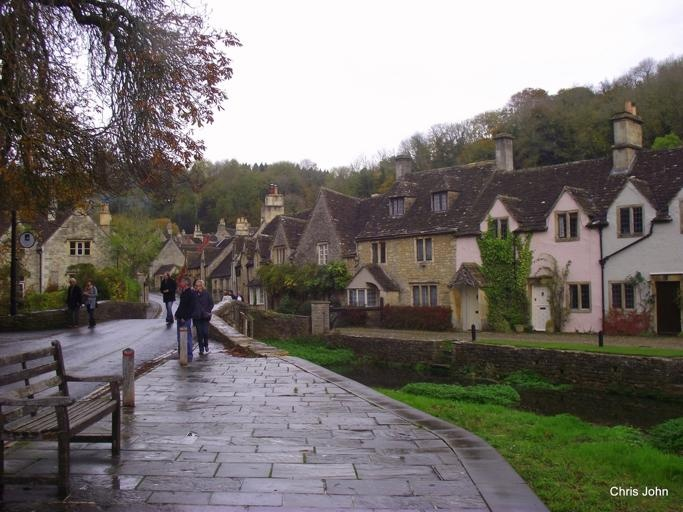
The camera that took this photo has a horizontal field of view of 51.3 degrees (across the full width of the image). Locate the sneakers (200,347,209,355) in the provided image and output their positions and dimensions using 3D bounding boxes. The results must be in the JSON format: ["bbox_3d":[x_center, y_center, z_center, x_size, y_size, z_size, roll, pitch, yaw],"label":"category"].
[{"bbox_3d":[-3.945,2.741,20.561,0.263,0.141,0.364,6,10,-15],"label":"sneakers"}]
